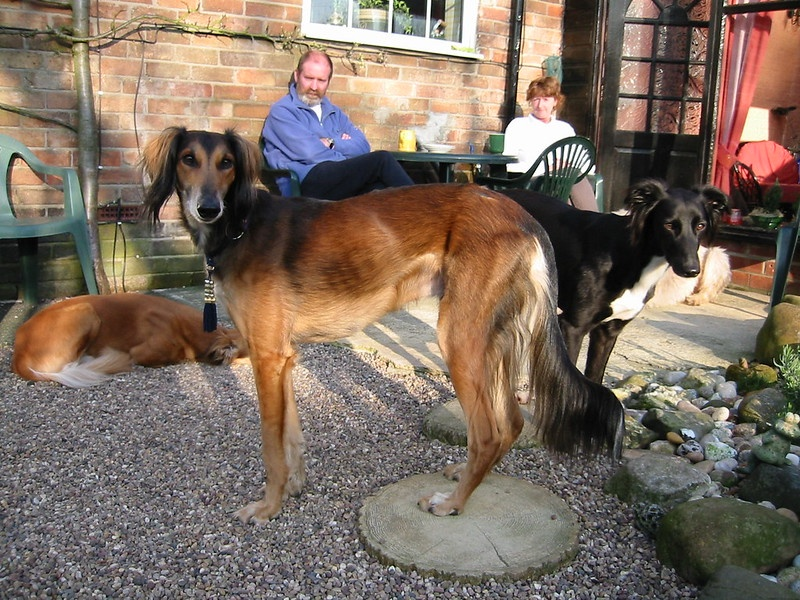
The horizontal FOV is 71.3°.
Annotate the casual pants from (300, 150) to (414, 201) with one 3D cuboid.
[{"bbox_3d":[-0.393,-1.037,5.132,1.189,0.374,0.514,-6,-1,3],"label":"casual pants"}]

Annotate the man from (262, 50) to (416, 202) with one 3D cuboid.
[{"bbox_3d":[-0.421,-1.575,5.302,1.995,1.411,0.958,16,27,30],"label":"man"}]

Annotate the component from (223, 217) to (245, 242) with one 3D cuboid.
[{"bbox_3d":[-0.715,-0.307,2.425,0.106,0.077,0.051,-30,12,5],"label":"component"}]

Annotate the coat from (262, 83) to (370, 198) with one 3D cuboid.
[{"bbox_3d":[-0.828,-1.509,5.598,0.823,1.095,0.968,17,23,42],"label":"coat"}]

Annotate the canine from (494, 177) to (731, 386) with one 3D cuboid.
[{"bbox_3d":[1.131,0.042,3.904,0.618,1.328,2.091,14,0,-19],"label":"canine"}]

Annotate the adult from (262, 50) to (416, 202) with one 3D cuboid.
[{"bbox_3d":[-0.488,-1.591,5.313,1.832,1.371,0.936,19,32,28],"label":"adult"}]

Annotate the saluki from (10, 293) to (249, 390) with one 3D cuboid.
[{"bbox_3d":[-1.924,0.263,4.051,1.294,0.421,0.737,1,0,-19],"label":"saluki"}]
